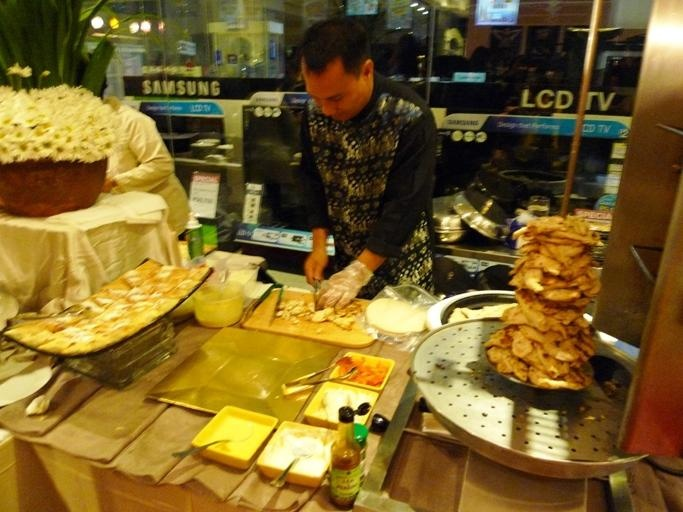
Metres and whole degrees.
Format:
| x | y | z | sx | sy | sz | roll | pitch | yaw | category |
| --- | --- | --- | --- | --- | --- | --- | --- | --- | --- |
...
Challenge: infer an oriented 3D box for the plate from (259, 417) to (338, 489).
| x | y | z | sx | sy | sz | roll | pitch | yaw | category |
| --- | --- | --- | --- | --- | --- | --- | --- | --- | --- |
| -0.117 | 0.533 | 1.329 | 0.180 | 0.076 | 0.159 | 5 | 21 | 11 | plate |

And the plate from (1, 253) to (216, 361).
| x | y | z | sx | sy | sz | roll | pitch | yaw | category |
| --- | --- | --- | --- | --- | --- | --- | --- | --- | --- |
| -0.746 | 0.132 | 1.585 | 0.290 | 0.072 | 0.405 | 13 | 27 | 28 | plate |

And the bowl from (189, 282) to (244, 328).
| x | y | z | sx | sy | sz | roll | pitch | yaw | category |
| --- | --- | --- | --- | --- | --- | --- | --- | --- | --- |
| -0.472 | 0.198 | 1.937 | 0.178 | 0.090 | 0.159 | -7 | 18 | -16 | bowl |

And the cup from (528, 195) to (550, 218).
| x | y | z | sx | sy | sz | roll | pitch | yaw | category |
| --- | --- | --- | --- | --- | --- | --- | --- | --- | --- |
| 1.155 | -0.291 | 2.894 | 0.137 | 0.113 | 0.133 | 1 | 8 | 0 | cup |

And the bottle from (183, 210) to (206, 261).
| x | y | z | sx | sy | sz | roll | pitch | yaw | category |
| --- | --- | --- | --- | --- | --- | --- | --- | --- | --- |
| -0.650 | -0.086 | 2.158 | 0.115 | 0.194 | 0.102 | -3 | 21 | -18 | bottle |

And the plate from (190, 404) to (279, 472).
| x | y | z | sx | sy | sz | roll | pitch | yaw | category |
| --- | --- | --- | --- | --- | --- | --- | --- | --- | --- |
| -0.285 | 0.493 | 1.372 | 0.202 | 0.042 | 0.205 | 24 | 35 | 38 | plate |

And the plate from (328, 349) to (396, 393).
| x | y | z | sx | sy | sz | roll | pitch | yaw | category |
| --- | --- | --- | --- | --- | --- | --- | --- | --- | --- |
| 0.074 | 0.377 | 1.626 | 0.130 | 0.025 | 0.121 | 9 | 24 | 22 | plate |

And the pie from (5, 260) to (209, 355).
| x | y | z | sx | sy | sz | roll | pitch | yaw | category |
| --- | --- | --- | --- | --- | --- | --- | --- | --- | --- |
| -0.743 | 0.173 | 1.616 | 0.286 | 0.070 | 0.401 | 14 | 28 | 29 | pie |

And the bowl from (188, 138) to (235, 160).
| x | y | z | sx | sy | sz | roll | pitch | yaw | category |
| --- | --- | --- | --- | --- | --- | --- | --- | --- | --- |
| -0.960 | -0.794 | 3.715 | 0.223 | 0.078 | 0.244 | 4 | 26 | -2 | bowl |

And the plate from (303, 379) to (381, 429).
| x | y | z | sx | sy | sz | roll | pitch | yaw | category |
| --- | --- | --- | --- | --- | --- | --- | --- | --- | --- |
| 0.000 | 0.435 | 1.472 | 0.144 | 0.035 | 0.128 | 7 | 23 | 16 | plate |

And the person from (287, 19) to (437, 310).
| x | y | z | sx | sy | sz | roll | pitch | yaw | category |
| --- | --- | --- | --- | --- | --- | --- | --- | --- | --- |
| 0.156 | -0.345 | 2.289 | 0.713 | 1.366 | 0.674 | 0 | 23 | -2 | person |

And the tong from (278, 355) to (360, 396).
| x | y | z | sx | sy | sz | roll | pitch | yaw | category |
| --- | --- | --- | --- | --- | --- | --- | --- | --- | --- |
| -0.060 | 0.384 | 1.589 | 0.283 | 0.043 | 0.080 | -14 | 27 | -28 | tong |

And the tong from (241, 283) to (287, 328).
| x | y | z | sx | sy | sz | roll | pitch | yaw | category |
| --- | --- | --- | --- | --- | --- | --- | --- | --- | --- |
| -0.313 | 0.219 | 1.986 | 0.120 | 0.022 | 0.327 | 3 | 25 | 15 | tong |

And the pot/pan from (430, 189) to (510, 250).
| x | y | z | sx | sy | sz | roll | pitch | yaw | category |
| --- | --- | --- | --- | --- | --- | --- | --- | --- | --- |
| 0.763 | -0.229 | 2.984 | 0.517 | 0.307 | 0.322 | 12 | 24 | 27 | pot/pan |
